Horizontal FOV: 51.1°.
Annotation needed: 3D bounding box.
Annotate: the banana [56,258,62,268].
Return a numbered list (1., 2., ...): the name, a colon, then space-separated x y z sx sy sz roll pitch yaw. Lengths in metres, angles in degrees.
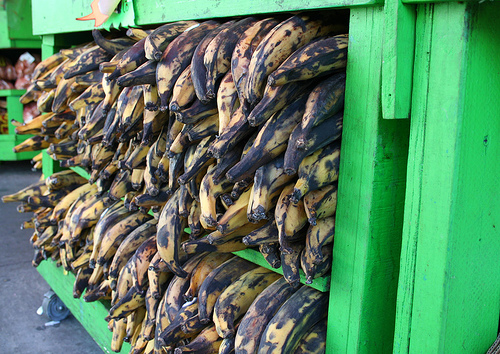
1. banana: -0.977 0.452 2.678 0.017 0.076 0.022 1 28 -27

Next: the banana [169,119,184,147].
1. banana: -0.249 -0.159 1.789 0.026 0.112 0.034 -2 -30 46

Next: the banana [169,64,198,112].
1. banana: -0.215 -0.272 1.669 0.050 0.185 0.059 -6 -32 38

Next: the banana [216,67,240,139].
1. banana: -0.072 -0.238 1.666 0.072 0.226 0.053 28 -30 -33

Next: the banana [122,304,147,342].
1. banana: -0.452 0.570 2.059 0.039 0.175 0.056 19 -4 5

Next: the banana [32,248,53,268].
1. banana: -1.067 0.404 2.642 0.057 0.082 0.073 -5 12 -15

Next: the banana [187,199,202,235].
1. banana: -0.189 0.140 1.780 0.030 0.131 0.041 -21 -34 25

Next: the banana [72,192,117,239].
1. banana: -0.663 0.173 2.242 0.206 0.056 0.071 -49 14 -1

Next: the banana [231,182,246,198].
1. banana: -0.039 0.045 1.654 0.050 0.030 0.017 -23 -4 -34

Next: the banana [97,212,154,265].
1. banana: -0.503 0.255 2.103 0.218 0.062 0.078 -41 59 -15

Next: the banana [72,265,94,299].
1. banana: -0.749 0.463 2.378 0.048 0.212 0.050 21 -26 -16

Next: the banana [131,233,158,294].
1. banana: -0.404 0.316 2.019 0.060 0.257 0.084 -16 -46 33

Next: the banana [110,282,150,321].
1. banana: -0.448 0.513 2.044 0.206 0.062 0.081 -32 44 -7

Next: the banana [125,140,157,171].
1. banana: -0.404 -0.080 1.943 0.027 0.040 0.108 24 65 34

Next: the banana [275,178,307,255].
1. banana: 0.111 0.119 1.532 0.065 0.251 0.080 17 -4 -6

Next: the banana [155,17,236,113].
1. banana: -0.220 -0.412 1.780 0.079 0.126 0.409 21 63 42

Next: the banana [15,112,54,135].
1. banana: -1.090 -0.240 2.615 0.147 0.063 0.045 -18 6 -1

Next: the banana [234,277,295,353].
1. banana: 0.047 0.448 1.663 0.268 0.064 0.084 -55 6 -31

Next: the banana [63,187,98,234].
1. banana: -0.765 0.158 2.359 0.048 0.200 0.060 30 -36 -17

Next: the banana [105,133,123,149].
1. banana: -0.521 -0.140 1.987 0.010 0.010 0.063 23 64 33

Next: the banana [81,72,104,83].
1. banana: -0.627 -0.396 2.082 0.093 0.036 0.034 -14 -13 -19

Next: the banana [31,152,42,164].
1. banana: -1.242 -0.105 3.028 0.035 0.045 0.142 21 12 -5

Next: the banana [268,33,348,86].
1. banana: 0.173 -0.326 1.533 0.319 0.107 0.101 -26 5 -26

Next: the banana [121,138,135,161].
1. banana: -0.468 -0.103 1.999 0.018 0.078 0.025 28 7 9

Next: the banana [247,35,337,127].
1. banana: 0.121 -0.271 1.512 0.063 0.279 0.067 41 -16 -24

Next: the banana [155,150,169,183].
1. banana: -0.304 -0.028 1.832 0.031 0.132 0.040 5 -5 27

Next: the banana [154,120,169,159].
1. banana: -0.309 -0.129 1.887 0.037 0.170 0.053 11 -20 -7

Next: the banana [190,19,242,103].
1. banana: -0.107 -0.354 1.651 0.063 0.276 0.085 22 -4 -37

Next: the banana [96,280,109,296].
1. banana: -0.634 0.474 2.238 0.020 0.079 0.026 24 -7 11

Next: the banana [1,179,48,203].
1. banana: -1.557 0.096 3.569 0.307 0.117 0.091 -29 -24 -20
